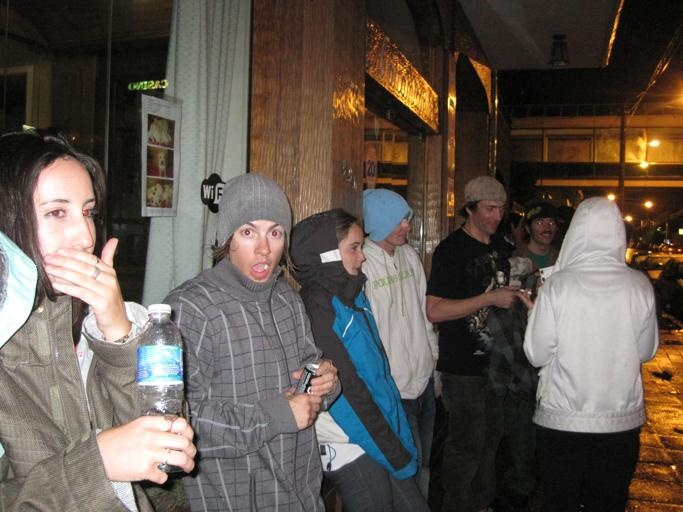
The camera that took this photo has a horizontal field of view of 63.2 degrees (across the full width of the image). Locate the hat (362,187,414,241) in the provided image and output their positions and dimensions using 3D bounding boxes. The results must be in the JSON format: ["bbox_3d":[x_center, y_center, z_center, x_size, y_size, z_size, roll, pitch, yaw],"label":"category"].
[{"bbox_3d":[0.328,-0.324,4.132,0.386,0.310,0.323,7,18,28],"label":"hat"}]

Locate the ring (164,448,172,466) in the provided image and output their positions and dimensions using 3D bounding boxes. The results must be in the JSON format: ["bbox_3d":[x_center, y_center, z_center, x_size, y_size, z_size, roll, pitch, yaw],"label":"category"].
[{"bbox_3d":[-0.560,0.655,1.796,0.011,0.045,0.047,9,-17,-9],"label":"ring"}]

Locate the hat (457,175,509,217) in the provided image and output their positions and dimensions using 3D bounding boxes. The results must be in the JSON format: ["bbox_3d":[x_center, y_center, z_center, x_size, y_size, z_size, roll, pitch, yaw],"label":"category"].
[{"bbox_3d":[1.171,-0.496,4.581,0.300,0.239,0.300,-1,-6,4],"label":"hat"}]

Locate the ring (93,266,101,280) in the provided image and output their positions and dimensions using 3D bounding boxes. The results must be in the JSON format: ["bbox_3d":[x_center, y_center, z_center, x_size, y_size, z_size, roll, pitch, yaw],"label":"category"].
[{"bbox_3d":[-0.823,0.055,1.869,0.021,0.029,0.029,5,22,-11],"label":"ring"}]

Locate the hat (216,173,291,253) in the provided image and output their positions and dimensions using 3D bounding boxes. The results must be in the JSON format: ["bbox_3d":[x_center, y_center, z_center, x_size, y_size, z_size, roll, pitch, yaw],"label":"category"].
[{"bbox_3d":[-0.467,-0.206,2.865,0.331,0.345,0.366,3,-7,-40],"label":"hat"}]
